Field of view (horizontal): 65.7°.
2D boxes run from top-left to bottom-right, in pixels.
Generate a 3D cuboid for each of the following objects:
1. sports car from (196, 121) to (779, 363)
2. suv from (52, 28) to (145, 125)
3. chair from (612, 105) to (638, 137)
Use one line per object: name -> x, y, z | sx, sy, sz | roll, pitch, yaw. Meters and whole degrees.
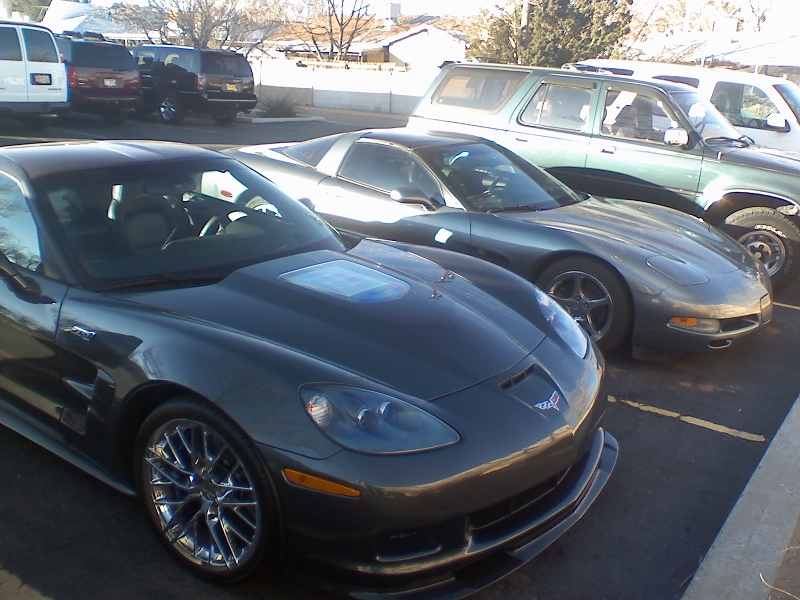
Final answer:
sports car -> 0.530, -0.724, 5.945 | 5.451, 1.301, 2.202 | 14, 19, 21
suv -> -8.364, -5.911, 16.125 | 3.148, 1.490, 1.537 | 19, 24, 36
chair -> 2.818, -2.234, 7.725 | 0.275, 0.421, 0.143 | 16, -1, 14
